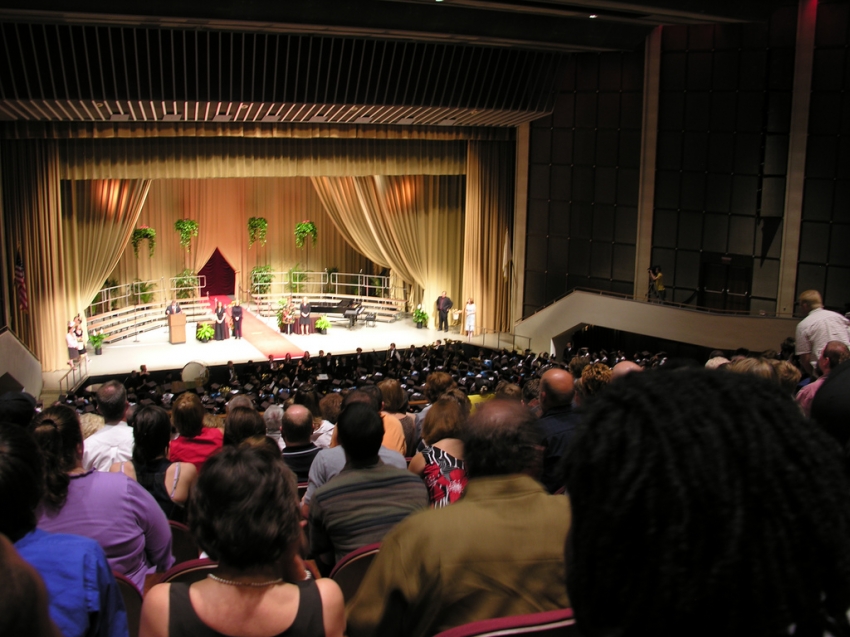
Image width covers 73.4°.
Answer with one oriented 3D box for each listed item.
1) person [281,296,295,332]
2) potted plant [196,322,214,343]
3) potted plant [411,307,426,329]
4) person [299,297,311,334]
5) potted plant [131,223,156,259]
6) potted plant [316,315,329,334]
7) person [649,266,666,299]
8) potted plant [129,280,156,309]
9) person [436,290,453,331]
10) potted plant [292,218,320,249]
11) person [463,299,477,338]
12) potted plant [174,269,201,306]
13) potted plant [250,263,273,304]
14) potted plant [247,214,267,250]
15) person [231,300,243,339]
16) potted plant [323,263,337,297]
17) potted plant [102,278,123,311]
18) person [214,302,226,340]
[{"bbox_3d":[-4.329,-0.047,17.954,0.458,1.045,0.618,-1,-2,-14],"label":"person"},{"bbox_3d":[-6.437,0.408,16.883,0.536,0.770,0.535,1,0,-1],"label":"potted plant"},{"bbox_3d":[-0.199,-0.026,19.087,0.500,0.666,0.550,0,6,-6],"label":"potted plant"},{"bbox_3d":[-3.768,-0.026,18.115,0.346,1.018,0.972,-2,-2,-8],"label":"person"},{"bbox_3d":[-9.452,-2.632,19.135,0.745,0.966,0.726,-2,-2,-12],"label":"potted plant"},{"bbox_3d":[-3.204,0.211,17.780,0.463,0.538,0.475,0,2,4],"label":"potted plant"},{"bbox_3d":[6.239,-0.968,15.347,0.290,0.987,0.329,11,39,37],"label":"person"},{"bbox_3d":[-9.463,-0.811,19.138,0.767,0.874,0.798,-4,5,-24],"label":"potted plant"},{"bbox_3d":[0.607,-0.193,18.675,0.491,1.216,0.737,-2,-2,1],"label":"person"},{"bbox_3d":[-4.441,-3.189,21.267,0.868,0.921,0.705,-2,-2,-14],"label":"potted plant"},{"bbox_3d":[1.463,0.001,18.401,0.379,1.132,0.725,-2,-2,4],"label":"person"},{"bbox_3d":[-8.379,-1.089,20.179,0.996,1.458,0.990,1,0,-10],"label":"potted plant"},{"bbox_3d":[-5.999,-1.327,21.025,0.789,1.306,0.516,-1,-2,-22],"label":"potted plant"},{"bbox_3d":[-6.081,-3.192,20.801,0.634,1.009,0.544,1,2,3],"label":"potted plant"},{"bbox_3d":[-5.646,0.094,17.099,0.264,1.014,0.471,-1,-2,-22],"label":"person"},{"bbox_3d":[-3.614,-1.495,21.820,0.557,0.997,0.204,-2,-1,6],"label":"potted plant"},{"bbox_3d":[-10.190,-0.785,18.489,0.479,1.079,0.802,-2,-2,-10],"label":"potted plant"},{"bbox_3d":[-6.060,0.109,16.928,0.318,1.070,0.467,-1,-2,-35],"label":"person"}]
